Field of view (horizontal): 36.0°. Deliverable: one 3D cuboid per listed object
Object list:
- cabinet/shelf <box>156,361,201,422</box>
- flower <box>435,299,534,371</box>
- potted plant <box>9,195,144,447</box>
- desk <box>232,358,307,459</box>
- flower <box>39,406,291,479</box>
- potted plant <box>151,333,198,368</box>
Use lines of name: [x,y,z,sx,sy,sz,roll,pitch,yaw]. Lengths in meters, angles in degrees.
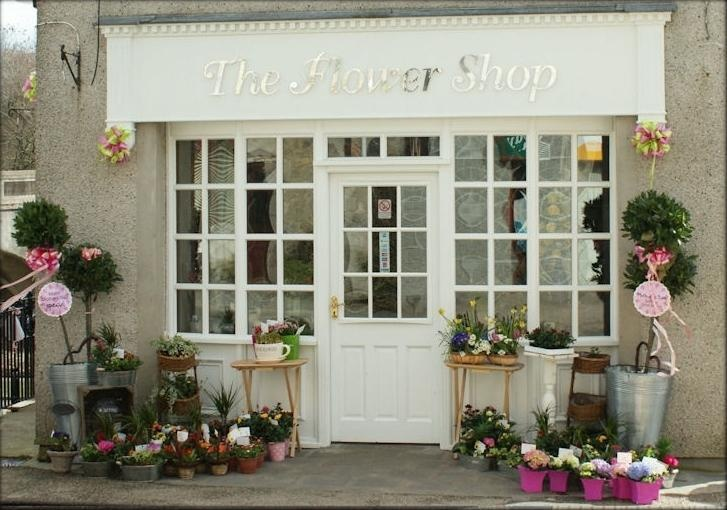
cabinet/shelf: [-2.020,1.513,12.483,0.630,0.632,0.638,0,-2,2]
flower: [1.315,0.941,12.284,0.908,0.699,0.695,0,-5,8]
potted plant: [-3.109,0.737,12.394,1.324,2.701,0.661,0,-3,6]
desk: [-0.923,1.716,12.573,1.056,1.335,0.977,1,5,3]
flower: [-1.941,2.065,11.979,1.601,0.539,1.037,-2,0,15]
potted plant: [-2.086,1.099,12.414,0.460,0.339,0.343,1,-1,0]
